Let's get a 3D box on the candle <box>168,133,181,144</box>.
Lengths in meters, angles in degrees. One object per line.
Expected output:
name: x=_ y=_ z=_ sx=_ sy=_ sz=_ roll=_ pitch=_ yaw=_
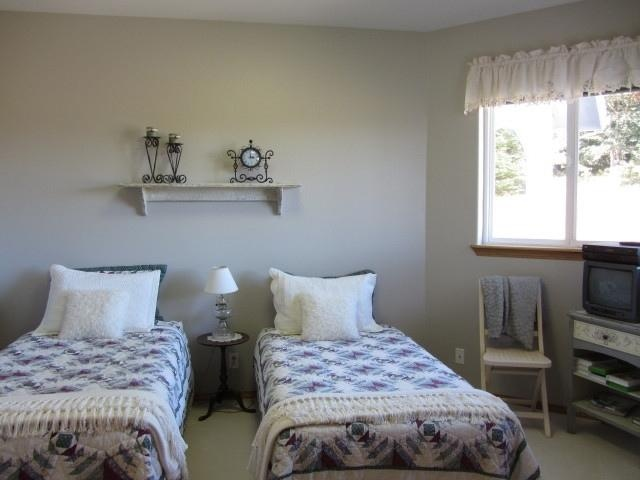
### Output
candle: x=-1.175 y=-0.820 z=4.170 sx=0.084 sy=0.081 sz=0.104 roll=-2 pitch=3 yaw=-34

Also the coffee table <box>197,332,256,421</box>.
coffee table: x=-0.733 y=1.087 z=4.272 sx=0.579 sy=0.756 sz=0.577 roll=2 pitch=-4 yaw=-22

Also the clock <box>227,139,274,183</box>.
clock: x=-0.603 y=-0.672 z=4.318 sx=0.370 sy=0.355 sz=0.029 roll=1 pitch=12 yaw=-5

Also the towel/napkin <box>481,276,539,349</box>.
towel/napkin: x=1.525 y=0.562 z=4.098 sx=0.548 sy=0.725 sz=0.142 roll=0 pitch=-3 yaw=9

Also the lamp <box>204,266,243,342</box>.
lamp: x=-0.785 y=0.506 z=4.160 sx=0.265 sy=0.568 sz=0.386 roll=-3 pitch=6 yaw=-10

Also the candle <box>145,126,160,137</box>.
candle: x=-1.356 y=-0.873 z=4.152 sx=0.088 sy=0.066 sz=0.088 roll=-7 pitch=17 yaw=-36
